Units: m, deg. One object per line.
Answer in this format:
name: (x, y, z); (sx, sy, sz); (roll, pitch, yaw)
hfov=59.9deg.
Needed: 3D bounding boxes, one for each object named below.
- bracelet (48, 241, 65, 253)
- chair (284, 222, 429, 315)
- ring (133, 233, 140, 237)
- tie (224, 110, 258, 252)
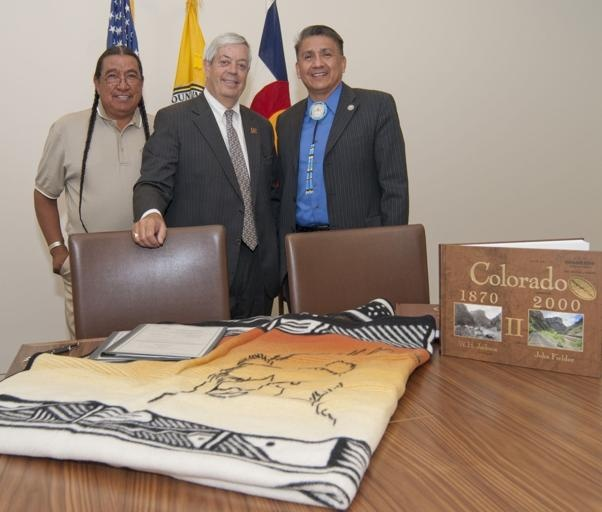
bracelet: (-1.191, -0.051, 2.541); (0.047, 0.024, 0.060); (-21, -2, -40)
chair: (0.169, 0.033, 1.610); (0.443, 0.281, 0.127); (3, 14, -2)
ring: (-0.478, -0.064, 1.507); (0.009, 0.005, 0.016); (-18, 41, -17)
tie: (-0.276, -0.369, 2.419); (0.099, 0.715, 0.070); (-11, -2, -9)
